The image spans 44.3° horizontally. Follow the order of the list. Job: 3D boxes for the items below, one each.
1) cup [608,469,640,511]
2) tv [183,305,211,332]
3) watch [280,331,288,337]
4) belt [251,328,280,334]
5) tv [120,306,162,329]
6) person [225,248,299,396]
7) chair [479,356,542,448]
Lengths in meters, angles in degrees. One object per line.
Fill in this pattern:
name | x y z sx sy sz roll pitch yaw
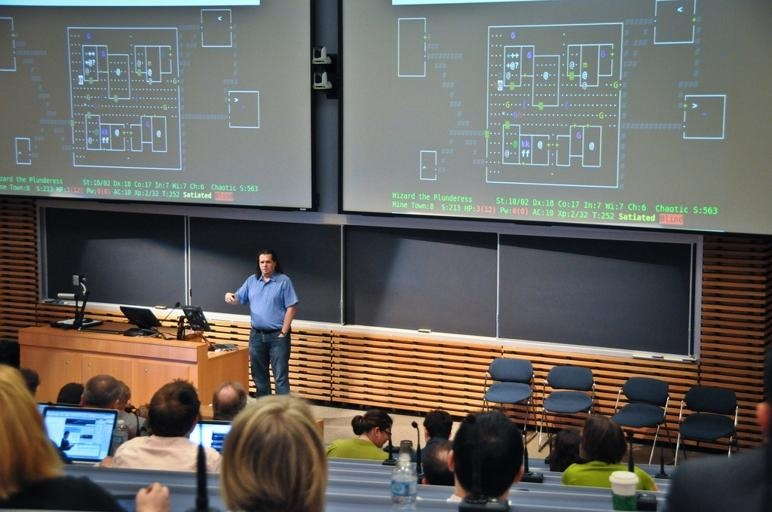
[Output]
cup | 1.595 1.596 6.433 0.222 0.322 0.221 0 -1 0
tv | -2.216 0.749 11.151 0.345 0.327 0.240 2 6 8
watch | -1.207 0.925 11.241 0.056 0.044 0.057 1 2 4
belt | -1.429 0.895 11.293 0.335 0.066 0.046 3 6 13
tv | -2.949 0.743 11.432 0.292 0.140 0.414 22 -9 -30
person | -1.450 0.812 11.366 0.758 1.759 0.326 3 6 17
chair | 1.471 1.665 11.133 0.797 1.374 0.877 0 0 17
